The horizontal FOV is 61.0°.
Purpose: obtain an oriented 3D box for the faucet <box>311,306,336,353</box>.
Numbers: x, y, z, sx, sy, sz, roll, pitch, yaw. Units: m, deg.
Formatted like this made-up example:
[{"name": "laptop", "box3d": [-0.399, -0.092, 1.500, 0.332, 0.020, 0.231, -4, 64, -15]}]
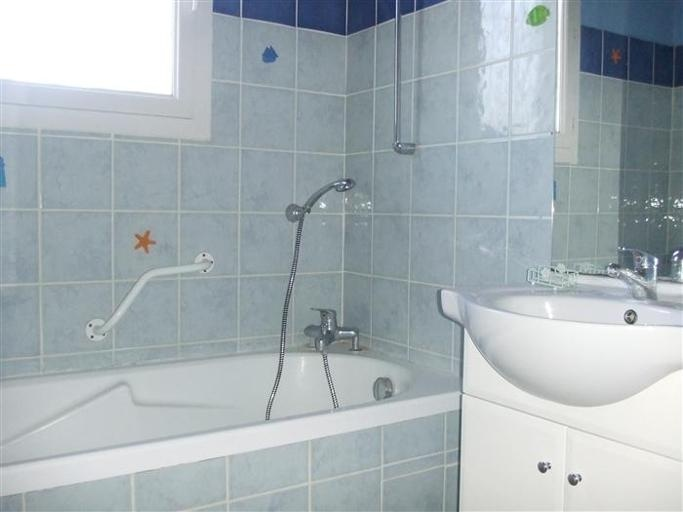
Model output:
[{"name": "faucet", "box3d": [-0.066, 0.348, 2.786, 0.109, 0.174, 0.175, 1, 4, 15]}]
